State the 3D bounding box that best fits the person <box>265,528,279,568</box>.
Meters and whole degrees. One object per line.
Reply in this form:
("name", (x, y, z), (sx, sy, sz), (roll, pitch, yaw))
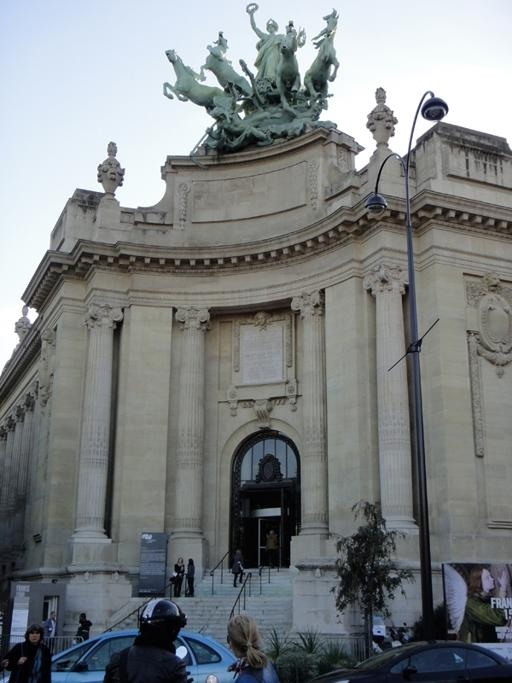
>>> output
("person", (0.628, 8.472, 31.546), (0.552, 1.493, 0.799), (0, -18, 0))
